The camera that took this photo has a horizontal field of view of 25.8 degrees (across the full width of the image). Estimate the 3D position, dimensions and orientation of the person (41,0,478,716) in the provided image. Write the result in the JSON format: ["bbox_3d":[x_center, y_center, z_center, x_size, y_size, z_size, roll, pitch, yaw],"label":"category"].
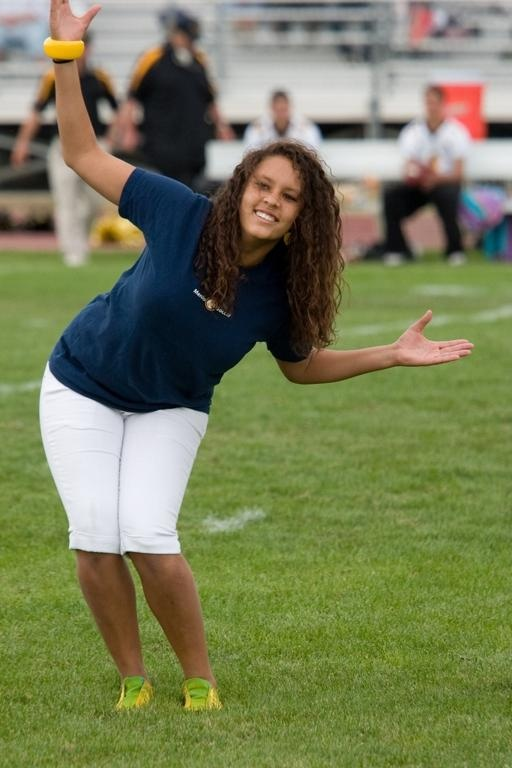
[{"bbox_3d":[-0.182,-0.053,2.520,0.554,1.405,0.760,10,20,34],"label":"person"}]

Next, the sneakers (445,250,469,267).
[{"bbox_3d":[2.046,-1.249,11.255,0.226,0.133,0.218,-1,-6,-21],"label":"sneakers"}]

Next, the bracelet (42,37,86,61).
[{"bbox_3d":[-0.429,-0.745,2.491,0.081,0.059,0.151,-3,14,-6],"label":"bracelet"}]
